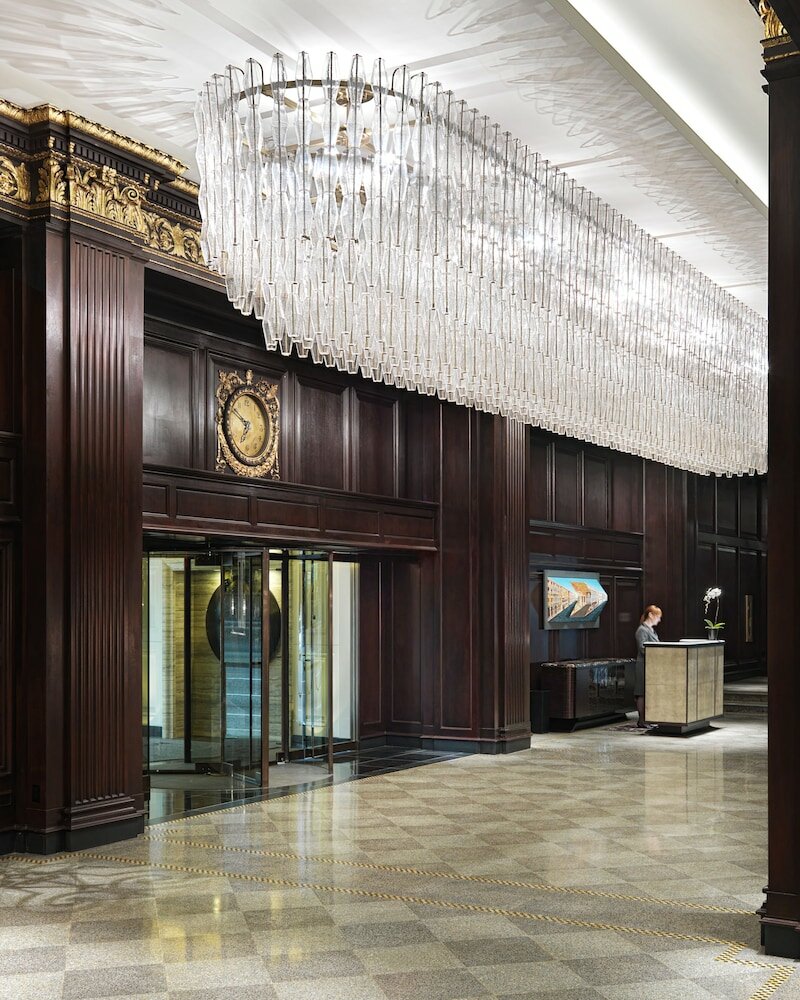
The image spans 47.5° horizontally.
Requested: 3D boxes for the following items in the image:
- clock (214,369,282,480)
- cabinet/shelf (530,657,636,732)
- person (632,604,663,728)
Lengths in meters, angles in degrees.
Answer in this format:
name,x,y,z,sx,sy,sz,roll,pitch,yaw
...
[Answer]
name,x,y,z,sx,sy,sz,roll,pitch,yaw
clock,-1.328,-0.682,7.960,0.057,1.008,0.909,-4,-7,28
cabinet/shelf,2.356,2.552,11.904,0.599,0.870,2.190,-7,-12,38
person,3.262,2.172,11.876,0.326,1.568,1.677,-2,-9,15
